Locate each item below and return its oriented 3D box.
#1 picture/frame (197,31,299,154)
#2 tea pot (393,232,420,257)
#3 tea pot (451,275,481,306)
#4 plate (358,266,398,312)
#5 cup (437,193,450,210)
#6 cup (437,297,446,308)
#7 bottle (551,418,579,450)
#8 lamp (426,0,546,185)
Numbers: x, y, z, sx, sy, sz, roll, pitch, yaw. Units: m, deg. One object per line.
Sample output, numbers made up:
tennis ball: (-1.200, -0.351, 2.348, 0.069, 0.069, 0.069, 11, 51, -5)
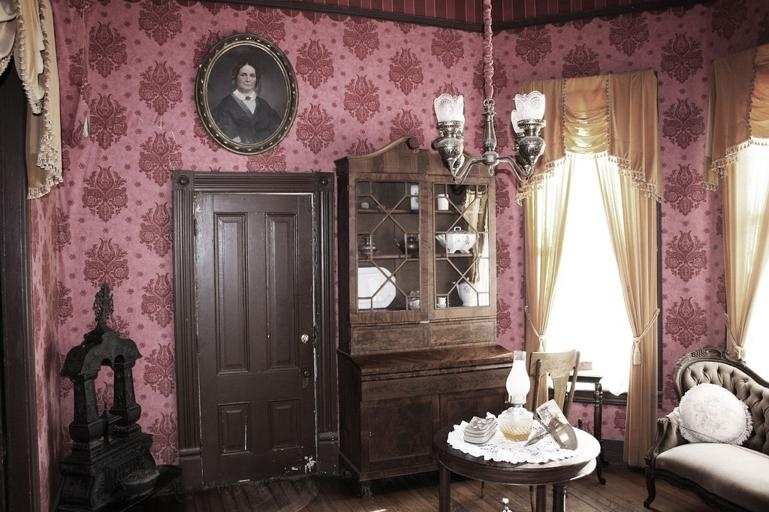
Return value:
picture/frame: (-1.361, -1.532, 5.763, 1.088, 1.296, 0.164, -2, 3, -19)
tea pot: (0.207, -0.100, 5.868, 0.210, 0.198, 0.215, 0, -1, 0)
tea pot: (0.825, 0.372, 6.037, 0.220, 0.283, 0.266, -1, -3, -45)
plate: (-0.092, 0.309, 5.809, 0.309, 0.414, 0.065, 2, -4, -18)
cup: (0.568, -0.514, 5.873, 0.130, 0.156, 0.136, 0, -2, 0)
cup: (0.564, 0.444, 5.970, 0.077, 0.080, 0.105, -2, -5, 27)
bottle: (1.285, 1.272, 4.416, 0.145, 0.247, 0.165, -30, -28, 2)
lamp: (0.812, -1.293, 4.802, 0.810, 1.526, 1.691, -1, 2, 8)
